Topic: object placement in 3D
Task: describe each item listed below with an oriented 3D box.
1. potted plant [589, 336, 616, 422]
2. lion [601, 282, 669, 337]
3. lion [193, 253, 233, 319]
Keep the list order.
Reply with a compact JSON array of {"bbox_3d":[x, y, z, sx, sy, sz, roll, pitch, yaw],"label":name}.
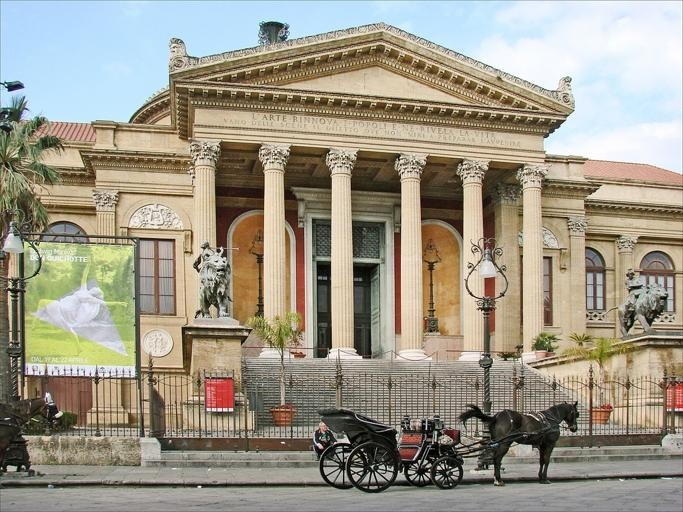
[{"bbox_3d":[10.249,4.865,64.672,1.134,3.745,1.062,2,-3,-3],"label":"potted plant"},{"bbox_3d":[11.812,2.131,64.030,0.956,2.066,1.982,6,-10,-37],"label":"lion"},{"bbox_3d":[-4.801,1.089,61.909,1.102,2.845,1.061,2,-9,-31],"label":"lion"}]
